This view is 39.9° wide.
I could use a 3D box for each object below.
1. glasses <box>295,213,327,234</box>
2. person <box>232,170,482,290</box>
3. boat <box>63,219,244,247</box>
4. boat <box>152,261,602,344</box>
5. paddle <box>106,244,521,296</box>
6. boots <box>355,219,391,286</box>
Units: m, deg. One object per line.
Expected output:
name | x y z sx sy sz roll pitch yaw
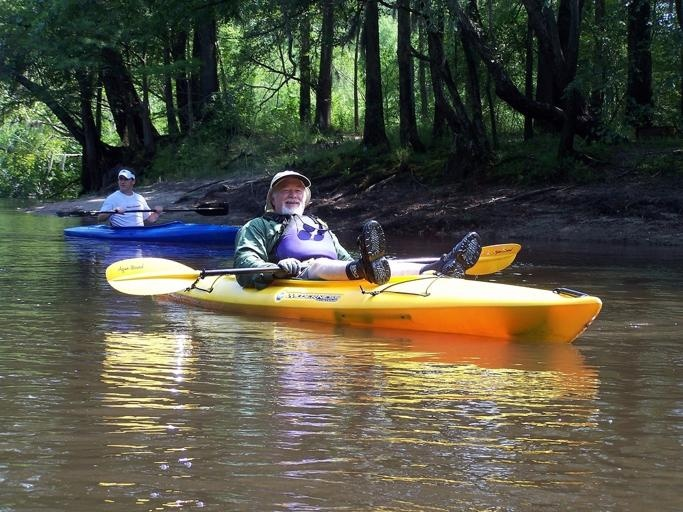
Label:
glasses | -0.294 -0.310 9.083 0.216 0.055 0.233 8 19 -34
person | -0.093 -0.220 8.917 2.215 0.861 1.285 -10 -13 34
boat | -3.169 -0.374 15.778 4.980 0.453 0.885 1 7 18
boat | 0.065 0.443 8.714 5.430 0.392 0.961 3 -4 28
paddle | -0.260 0.151 9.405 4.500 0.348 0.600 1 14 15
boots | 0.301 -0.038 8.226 0.260 0.540 0.315 -15 15 -33
